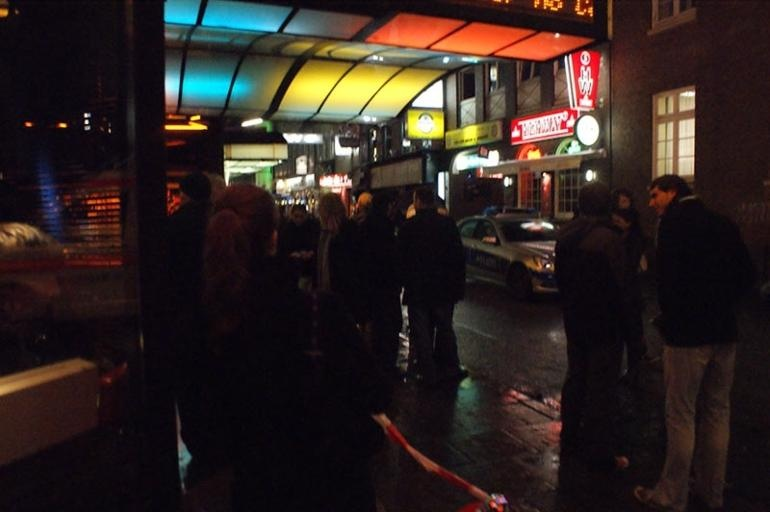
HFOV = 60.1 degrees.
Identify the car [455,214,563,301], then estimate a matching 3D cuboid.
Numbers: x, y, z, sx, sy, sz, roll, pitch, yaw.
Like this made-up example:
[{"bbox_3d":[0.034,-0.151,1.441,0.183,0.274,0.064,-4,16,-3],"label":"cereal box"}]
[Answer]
[{"bbox_3d":[2.802,-0.076,14.429,1.273,1.034,2.887,-3,6,-26],"label":"car"}]
